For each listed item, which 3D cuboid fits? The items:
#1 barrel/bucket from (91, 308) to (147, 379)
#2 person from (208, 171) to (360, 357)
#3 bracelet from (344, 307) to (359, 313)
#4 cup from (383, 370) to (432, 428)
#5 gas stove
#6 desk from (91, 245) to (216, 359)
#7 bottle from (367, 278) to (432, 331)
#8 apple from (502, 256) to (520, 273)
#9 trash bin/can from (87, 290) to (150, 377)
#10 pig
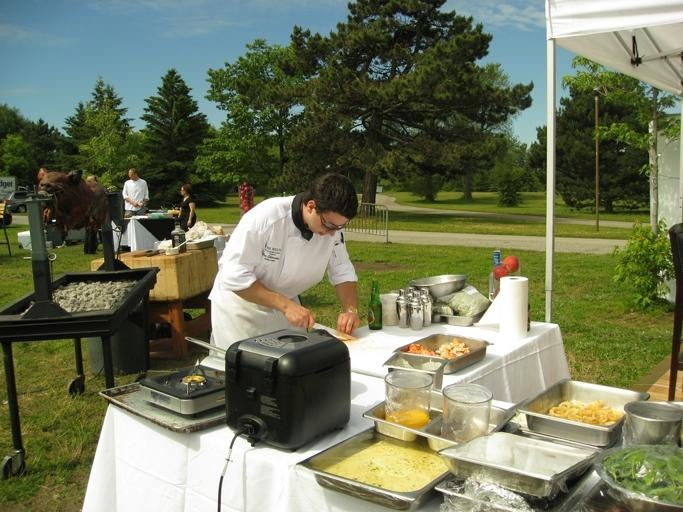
[{"bbox_3d":[-2.438,0.969,6.625,0.652,0.770,0.696,-2,-2,0],"label":"barrel/bucket"},{"bbox_3d":[-0.362,0.026,3.826,0.758,1.340,0.784,11,7,10],"label":"person"},{"bbox_3d":[0.066,0.372,4.045,0.067,0.020,0.066,3,9,11],"label":"bracelet"},{"bbox_3d":[0.311,0.636,2.746,0.189,0.245,0.206,2,8,0],"label":"cup"},{"bbox_3d":[-0.773,0.680,2.998,0.436,0.170,0.421,4,5,27],"label":"gas stove"},{"bbox_3d":[-2.251,0.281,7.471,1.405,1.660,1.477,2,8,29],"label":"desk"},{"bbox_3d":[0.450,0.317,4.262,0.364,0.253,0.387,0,1,0],"label":"bottle"},{"bbox_3d":[1.312,0.064,4.480,0.122,0.125,0.275,1,4,15],"label":"apple"},{"bbox_3d":[-2.530,0.878,6.573,0.600,1.021,0.655,2,12,-11],"label":"trash bin/can"},{"bbox_3d":[-2.545,-0.524,5.485,0.386,0.596,1.085,9,4,3],"label":"pig"}]
